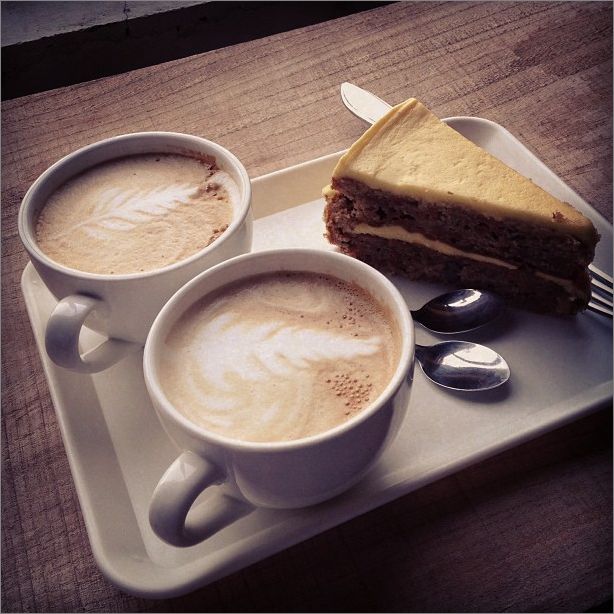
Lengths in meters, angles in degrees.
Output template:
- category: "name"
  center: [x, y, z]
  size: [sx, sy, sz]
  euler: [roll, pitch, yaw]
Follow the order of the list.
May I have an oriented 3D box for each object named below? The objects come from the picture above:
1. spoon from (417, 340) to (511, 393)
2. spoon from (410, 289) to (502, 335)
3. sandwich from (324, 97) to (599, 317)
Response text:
- category: "spoon"
  center: [0.270, 0.104, 1.120]
  size: [0.134, 0.023, 0.112]
  euler: [-13, 55, -8]
- category: "spoon"
  center: [0.289, 0.008, 1.228]
  size: [0.144, 0.025, 0.105]
  euler: [-35, 60, -21]
- category: "sandwich"
  center: [0.293, -0.206, 1.446]
  size: [0.649, 0.285, 0.359]
  euler: [31, 65, 28]
